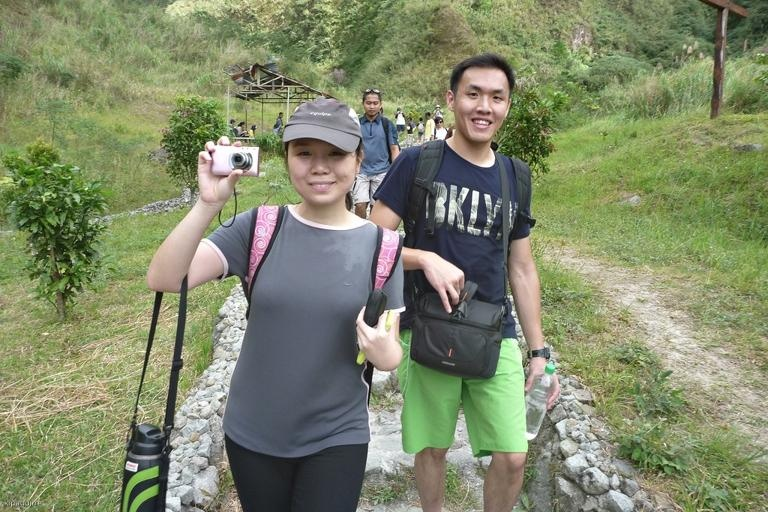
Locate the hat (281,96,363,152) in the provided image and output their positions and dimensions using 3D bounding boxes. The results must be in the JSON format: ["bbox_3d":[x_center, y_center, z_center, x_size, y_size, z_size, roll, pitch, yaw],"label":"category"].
[{"bbox_3d":[-0.456,-1.030,4.091,0.397,0.312,0.549,4,4,5],"label":"hat"}]

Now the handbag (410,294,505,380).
[{"bbox_3d":[0.665,0.721,4.641,0.654,0.687,0.348,7,2,3],"label":"handbag"}]
